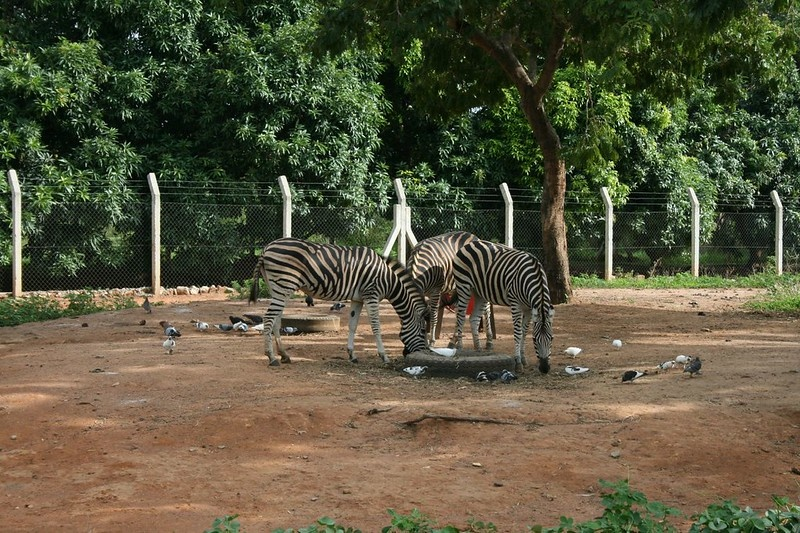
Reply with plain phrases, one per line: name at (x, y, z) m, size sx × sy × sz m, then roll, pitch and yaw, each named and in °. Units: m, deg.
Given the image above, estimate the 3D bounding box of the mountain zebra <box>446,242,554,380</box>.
mountain zebra at (1.638, 0.630, 15.910) m, size 0.751 × 2.191 × 1.920 m, roll 3°, pitch -3°, yaw -38°

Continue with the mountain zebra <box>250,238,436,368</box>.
mountain zebra at (-0.941, 0.641, 16.103) m, size 3.109 × 2.042 × 0.776 m, roll 6°, pitch -4°, yaw -20°
